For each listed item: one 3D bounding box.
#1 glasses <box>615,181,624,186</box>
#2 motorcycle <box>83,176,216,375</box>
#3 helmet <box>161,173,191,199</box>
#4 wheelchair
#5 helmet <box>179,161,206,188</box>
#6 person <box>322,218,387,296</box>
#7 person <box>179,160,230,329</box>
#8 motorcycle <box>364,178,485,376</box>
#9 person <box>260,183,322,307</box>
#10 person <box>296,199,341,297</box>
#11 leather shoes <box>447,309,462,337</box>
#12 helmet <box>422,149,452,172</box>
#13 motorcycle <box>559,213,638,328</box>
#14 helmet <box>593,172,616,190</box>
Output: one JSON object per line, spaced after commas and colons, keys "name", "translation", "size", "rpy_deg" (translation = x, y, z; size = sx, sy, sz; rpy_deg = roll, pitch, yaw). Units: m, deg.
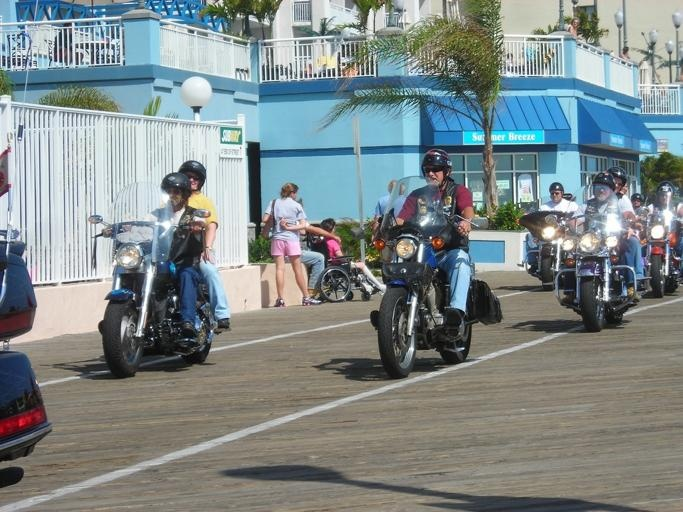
{"name": "glasses", "translation": [4.349, -1.101, 17.630], "size": [0.131, 0.044, 0.131], "rpy_deg": [-1, -2, 44]}
{"name": "motorcycle", "translation": [-2.111, 0.364, 12.510], "size": [1.257, 2.285, 1.584], "rpy_deg": [2, 10, -4]}
{"name": "helmet", "translation": [-1.891, -0.810, 13.023], "size": [0.298, 0.237, 0.248], "rpy_deg": [20, -16, -37]}
{"name": "wheelchair", "translation": [-0.180, 0.156, 21.038], "size": [0.934, 1.430, 0.975], "rpy_deg": [-3, 14, -35]}
{"name": "helmet", "translation": [-1.838, -1.006, 13.976], "size": [0.273, 0.319, 0.342], "rpy_deg": [2, 2, 0]}
{"name": "person", "translation": [0.287, 0.294, 21.465], "size": [1.341, 1.439, 0.812], "rpy_deg": [-2, 4, -4]}
{"name": "person", "translation": [-1.713, -0.073, 13.669], "size": [0.764, 2.043, 0.711], "rpy_deg": [-6, -4, 27]}
{"name": "motorcycle", "translation": [0.833, 0.221, 12.057], "size": [0.779, 2.102, 1.576], "rpy_deg": [0, 4, 39]}
{"name": "person", "translation": [-0.925, -0.169, 20.034], "size": [0.833, 2.159, 0.620], "rpy_deg": [-5, 4, -42]}
{"name": "person", "translation": [-0.454, -0.009, 21.494], "size": [1.289, 1.437, 0.951], "rpy_deg": [-5, 5, -34]}
{"name": "leather shoes", "translation": [1.212, 0.706, 12.000], "size": [0.114, 0.324, 0.136], "rpy_deg": [1, 36, 6]}
{"name": "helmet", "translation": [1.045, -1.042, 12.434], "size": [0.224, 0.225, 0.290], "rpy_deg": [-3, -7, 29]}
{"name": "motorcycle", "translation": [3.428, 0.208, 15.674], "size": [0.889, 1.093, 1.796], "rpy_deg": [-2, -1, 23]}
{"name": "helmet", "translation": [3.708, -1.039, 15.938], "size": [0.229, 0.272, 0.308], "rpy_deg": [4, 7, 19]}
